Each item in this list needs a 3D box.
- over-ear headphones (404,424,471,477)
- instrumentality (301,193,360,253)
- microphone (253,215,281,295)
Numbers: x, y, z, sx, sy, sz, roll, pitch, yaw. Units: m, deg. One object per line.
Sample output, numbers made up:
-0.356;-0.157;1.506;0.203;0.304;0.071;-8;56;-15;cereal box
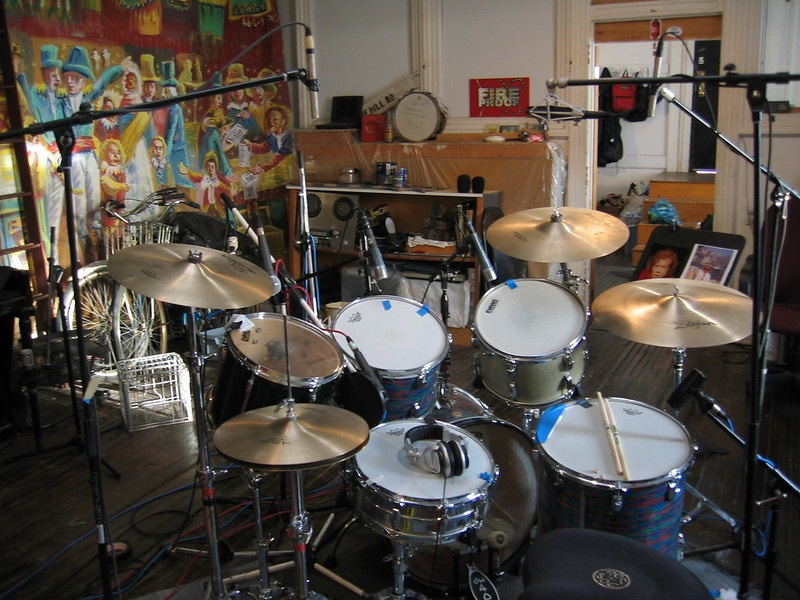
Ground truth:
0.183;0.623;2.753;0.254;0.112;0.275;-6;14;-13;over-ear headphones
-0.608;-0.710;5.989;0.644;0.526;0.221;9;12;20;instrumentality
-0.622;-0.224;2.962;0.062;0.321;0.043;-13;9;-20;microphone
